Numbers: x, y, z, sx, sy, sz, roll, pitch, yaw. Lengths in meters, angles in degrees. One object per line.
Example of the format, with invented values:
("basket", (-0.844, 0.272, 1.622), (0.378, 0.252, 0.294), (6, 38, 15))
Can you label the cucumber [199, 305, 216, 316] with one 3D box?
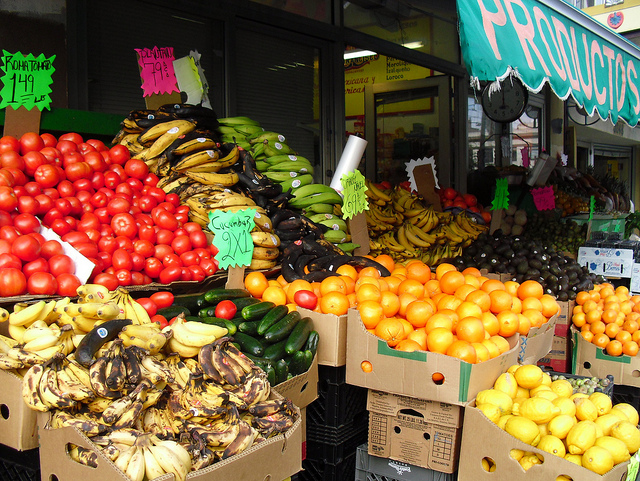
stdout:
("cucumber", (-0.611, 0.388, 2.793), (0.090, 0.038, 0.043), (-20, -24, -20))

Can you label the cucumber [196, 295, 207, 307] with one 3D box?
("cucumber", (-0.666, 0.346, 2.882), (0.033, 0.074, 0.036), (0, 0, -11))

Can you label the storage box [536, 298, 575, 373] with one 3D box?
("storage box", (2.016, 0.834, 4.404), (0.346, 0.687, 0.455), (8, 15, 35))

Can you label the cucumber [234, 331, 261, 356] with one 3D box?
("cucumber", (-0.366, 0.516, 2.601), (0.073, 0.059, 0.151), (-14, 38, -43))

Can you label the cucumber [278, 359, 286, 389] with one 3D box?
("cucumber", (-0.178, 0.627, 2.449), (0.039, 0.097, 0.035), (1, 2, -28))

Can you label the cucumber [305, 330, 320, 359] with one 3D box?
("cucumber", (-0.035, 0.542, 2.680), (0.048, 0.118, 0.041), (10, -24, -2))

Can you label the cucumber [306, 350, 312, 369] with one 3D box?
("cucumber", (-0.053, 0.608, 2.590), (0.035, 0.079, 0.032), (3, -6, -26))

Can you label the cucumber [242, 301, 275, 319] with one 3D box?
("cucumber", (-0.330, 0.379, 2.801), (0.062, 0.068, 0.197), (34, 31, 29))

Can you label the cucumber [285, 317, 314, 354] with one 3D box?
("cucumber", (-0.111, 0.511, 2.689), (0.091, 0.101, 0.313), (14, 25, 15))

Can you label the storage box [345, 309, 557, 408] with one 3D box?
("storage box", (0.791, 0.642, 3.129), (0.705, 0.353, 1.350), (1, -2, 37))

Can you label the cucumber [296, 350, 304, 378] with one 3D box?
("cucumber", (-0.095, 0.609, 2.549), (0.044, 0.106, 0.039), (-1, 17, -18))

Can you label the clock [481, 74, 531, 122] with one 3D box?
("clock", (2.771, -2.084, 7.612), (0.658, 0.812, 0.118), (-1, -17, 18))

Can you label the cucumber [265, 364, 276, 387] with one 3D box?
("cucumber", (-0.222, 0.627, 2.373), (0.031, 0.096, 0.041), (-7, 13, 20))
